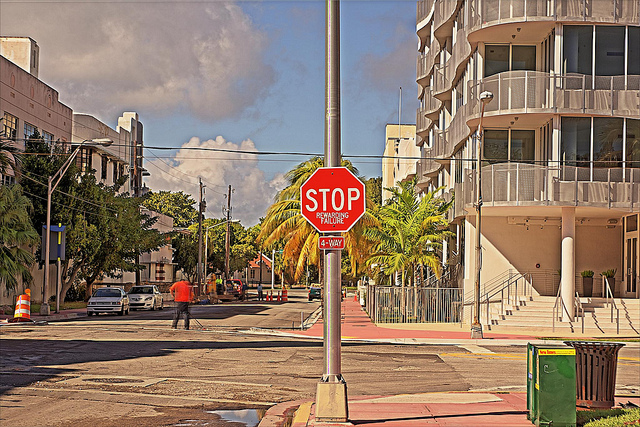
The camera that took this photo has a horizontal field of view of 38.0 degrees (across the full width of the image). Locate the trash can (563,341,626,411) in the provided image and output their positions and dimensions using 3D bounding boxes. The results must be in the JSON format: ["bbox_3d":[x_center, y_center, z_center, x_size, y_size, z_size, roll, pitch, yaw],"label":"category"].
[{"bbox_3d":[8.734,5.307,30.762,2.141,2.221,2.071,-4,-8,32],"label":"trash can"}]

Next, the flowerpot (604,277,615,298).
[{"bbox_3d":[15.869,4.076,51.200,0.577,1.101,1.257,-3,-12,17],"label":"flowerpot"}]

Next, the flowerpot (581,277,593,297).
[{"bbox_3d":[14.671,4.060,51.213,0.569,1.081,0.705,-3,-12,15],"label":"flowerpot"}]

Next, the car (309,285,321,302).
[{"bbox_3d":[-0.513,7.327,86.472,1.083,0.773,2.331,0,1,1],"label":"car"}]

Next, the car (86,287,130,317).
[{"bbox_3d":[-12.818,5.288,56.352,2.393,1.864,1.467,4,-12,-18],"label":"car"}]
